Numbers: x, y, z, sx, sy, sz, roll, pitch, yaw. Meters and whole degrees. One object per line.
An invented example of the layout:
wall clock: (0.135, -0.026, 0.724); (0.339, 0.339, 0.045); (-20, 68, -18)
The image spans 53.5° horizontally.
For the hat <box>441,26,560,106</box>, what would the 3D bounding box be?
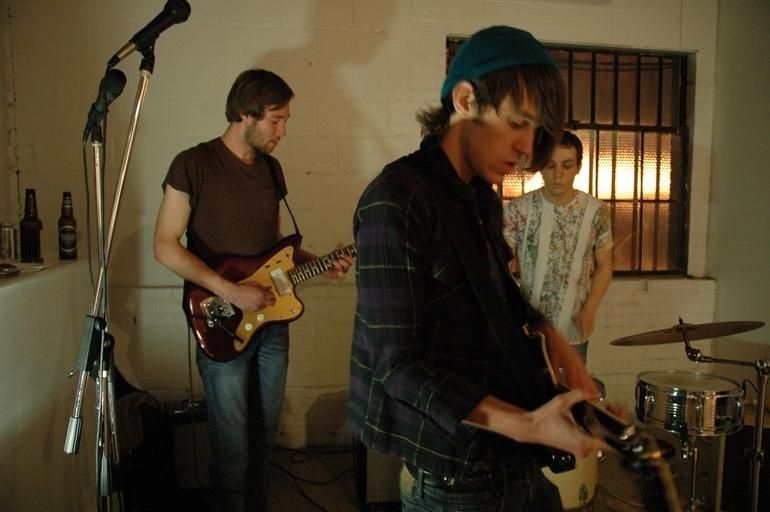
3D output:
hat: (0.522, -0.882, 3.563); (0.412, 0.222, 0.310); (-16, 5, 11)

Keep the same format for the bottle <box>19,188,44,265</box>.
bottle: (-2.317, -0.203, 4.986); (0.139, 0.474, 0.385); (1, 1, -26)

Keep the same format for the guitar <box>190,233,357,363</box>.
guitar: (-0.787, 0.242, 4.802); (1.380, 0.554, 0.174); (-28, 6, -36)

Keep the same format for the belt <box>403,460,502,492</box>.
belt: (0.304, 1.042, 3.570); (0.208, 0.057, 0.222); (10, -8, -40)

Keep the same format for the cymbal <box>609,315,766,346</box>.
cymbal: (2.045, 0.508, 5.082); (0.487, 0.104, 0.491); (-3, -12, -31)

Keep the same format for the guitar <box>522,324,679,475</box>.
guitar: (0.913, 0.681, 3.462); (0.289, 0.664, 0.782); (0, 1, -30)

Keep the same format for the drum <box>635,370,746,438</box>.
drum: (1.992, 0.959, 4.937); (0.485, 0.224, 0.488); (0, 1, 0)

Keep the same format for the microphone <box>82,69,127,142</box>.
microphone: (-1.521, -0.804, 4.109); (0.180, 0.388, 0.267); (0, 1, -33)
